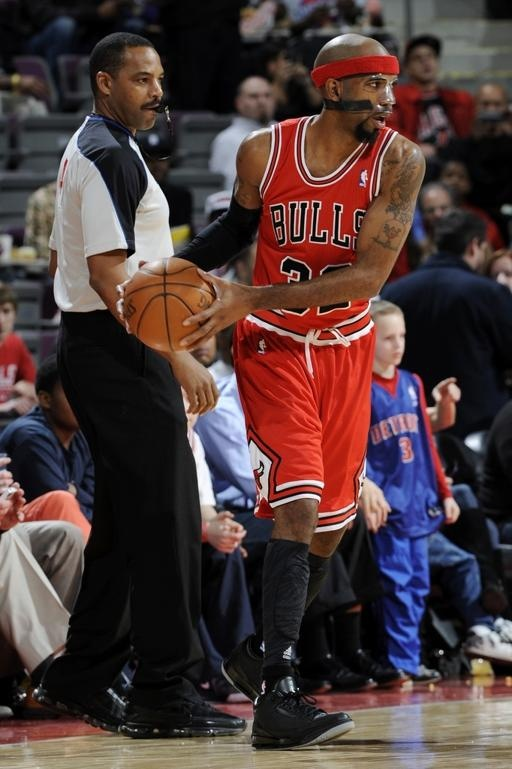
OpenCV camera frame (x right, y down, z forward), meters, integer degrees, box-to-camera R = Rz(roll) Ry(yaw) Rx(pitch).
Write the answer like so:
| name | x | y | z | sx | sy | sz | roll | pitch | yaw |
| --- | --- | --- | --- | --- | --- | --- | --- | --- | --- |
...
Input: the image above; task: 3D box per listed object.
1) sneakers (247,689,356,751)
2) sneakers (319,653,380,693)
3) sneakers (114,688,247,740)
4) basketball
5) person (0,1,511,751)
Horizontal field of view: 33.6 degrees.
| name | x | y | z | sx | sy | sz | roll | pitch | yaw |
| --- | --- | --- | --- | --- | --- | --- | --- | --- | --- |
| sneakers | 0.099 | 0.760 | 1.935 | 0.281 | 0.138 | 0.097 | -8 | -11 | 28 |
| sneakers | 0.339 | 1.156 | 3.397 | 0.288 | 0.107 | 0.097 | 2 | 0 | 15 |
| sneakers | -0.195 | 0.833 | 2.192 | 0.368 | 0.145 | 0.119 | 1 | -5 | -13 |
| basketball | -0.217 | -0.191 | 1.951 | 0.229 | 0.192 | 0.205 | 1 | 9 | -24 |
| person | -0.087 | 0.003 | 2.141 | 0.958 | 1.816 | 0.784 | 2 | 9 | 9 |
